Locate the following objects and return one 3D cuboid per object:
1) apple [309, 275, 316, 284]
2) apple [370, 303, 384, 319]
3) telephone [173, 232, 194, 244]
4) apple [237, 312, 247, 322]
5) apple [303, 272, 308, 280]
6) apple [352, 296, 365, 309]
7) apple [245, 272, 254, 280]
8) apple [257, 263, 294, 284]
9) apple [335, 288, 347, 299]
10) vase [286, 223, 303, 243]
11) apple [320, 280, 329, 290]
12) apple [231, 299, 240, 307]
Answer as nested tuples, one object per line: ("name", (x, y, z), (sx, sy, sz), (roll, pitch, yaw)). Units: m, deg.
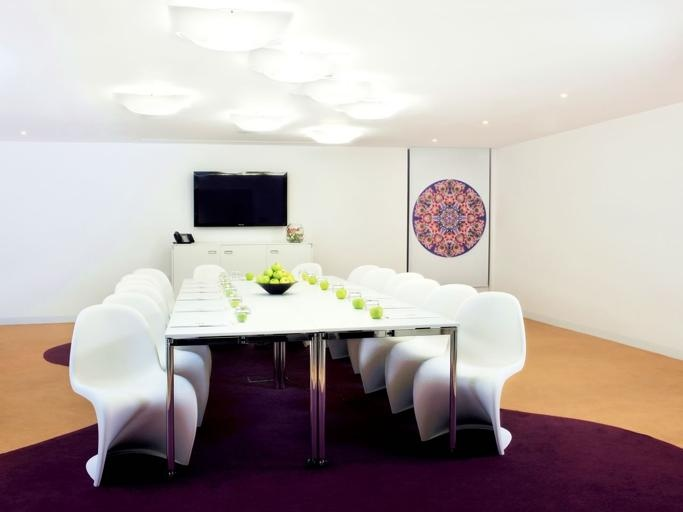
("apple", (-0.315, 0.263, 5.313), (0.071, 0.089, 0.074), (6, 12, 9))
("apple", (0.241, 0.378, 3.331), (0.080, 0.086, 0.083), (-5, 4, -17))
("telephone", (-2.472, -0.244, 7.596), (0.240, 0.180, 0.255), (1, 0, -7))
("apple", (-0.663, 0.403, 3.215), (0.053, 0.051, 0.079), (-2, 10, -18))
("apple", (-0.416, 0.237, 5.622), (0.059, 0.079, 0.061), (0, -1, -9))
("apple", (0.139, 0.353, 3.716), (0.072, 0.074, 0.079), (2, 17, 0))
("apple", (-1.060, 0.206, 5.573), (0.117, 0.130, 0.163), (-1, -7, -9))
("apple", (-0.643, 0.190, 4.683), (0.265, 0.157, 0.276), (0, -3, -6))
("apple", (-0.006, 0.323, 4.216), (0.077, 0.080, 0.079), (3, 6, 43))
("vase", (-0.768, -0.383, 7.952), (0.267, 0.287, 0.270), (0, -4, -2))
("apple", (-0.167, 0.279, 4.826), (0.074, 0.096, 0.082), (1, -4, 0))
("apple", (-0.784, 0.351, 3.579), (0.066, 0.071, 0.068), (0, 5, -7))
